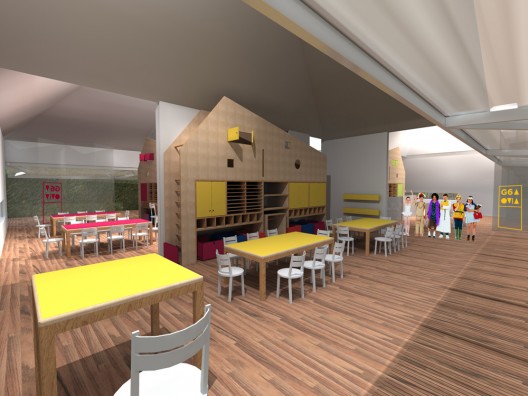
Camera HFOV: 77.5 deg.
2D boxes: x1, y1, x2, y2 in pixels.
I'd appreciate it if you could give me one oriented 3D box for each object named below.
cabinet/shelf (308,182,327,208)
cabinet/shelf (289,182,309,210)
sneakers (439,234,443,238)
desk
[{"bbox_3d":[1.898,-0.105,11.856,0.337,0.820,0.911,0,1,42],"label":"cabinet/shelf"},{"bbox_3d":[1.290,-0.077,11.285,0.333,0.894,0.969,1,-2,-41],"label":"cabinet/shelf"},{"bbox_3d":[6.350,1.378,11.833,0.105,0.135,0.334,-1,-1,32],"label":"sneakers"},{"bbox_3d":[-2.123,1.201,4.359,1.844,1.431,1.800,-8,14,-45],"label":"desk"}]
